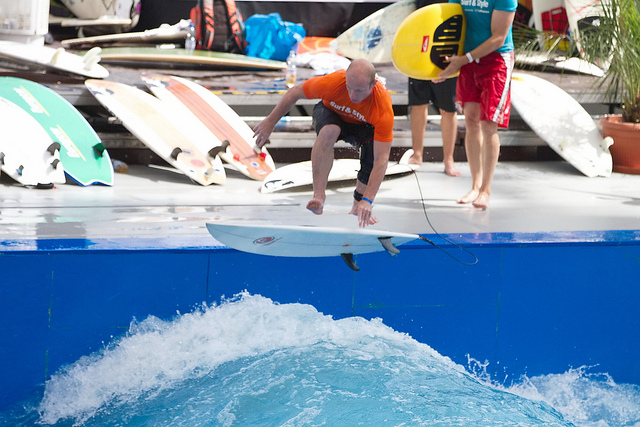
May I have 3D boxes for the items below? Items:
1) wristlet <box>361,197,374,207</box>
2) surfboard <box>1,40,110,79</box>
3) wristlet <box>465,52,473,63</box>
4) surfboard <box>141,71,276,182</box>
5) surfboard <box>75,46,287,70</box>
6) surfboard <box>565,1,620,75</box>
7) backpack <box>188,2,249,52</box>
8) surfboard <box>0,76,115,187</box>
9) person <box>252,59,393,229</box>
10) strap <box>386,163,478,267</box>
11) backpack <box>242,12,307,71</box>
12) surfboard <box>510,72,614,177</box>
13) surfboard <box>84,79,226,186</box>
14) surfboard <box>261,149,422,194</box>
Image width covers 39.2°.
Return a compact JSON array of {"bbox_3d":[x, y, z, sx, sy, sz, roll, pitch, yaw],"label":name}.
[{"bbox_3d":[0.331,-0.078,6.184,0.057,0.013,0.053,41,-4,-22],"label":"wristlet"},{"bbox_3d":[-2.299,-1.351,7.752,0.759,0.151,0.389,14,11,-21],"label":"surfboard"},{"bbox_3d":[1.110,-1.182,6.724,0.016,0.057,0.059,-20,29,-4],"label":"wristlet"},{"bbox_3d":[-0.947,-0.886,7.992,0.175,1.577,0.481,38,-22,2],"label":"surfboard"},{"bbox_3d":[-1.379,-1.465,8.416,1.196,0.076,0.275,4,26,-17],"label":"surfboard"},{"bbox_3d":[2.468,-1.789,8.227,0.297,0.146,1.299,-2,35,4],"label":"surfboard"},{"bbox_3d":[-1.028,-1.775,8.874,0.419,0.579,0.550,-1,-16,-13],"label":"backpack"},{"bbox_3d":[-2.273,-0.670,7.567,0.514,0.232,1.564,-11,56,-46],"label":"surfboard"},{"bbox_3d":[0.069,-0.509,6.377,0.896,1.182,0.635,1,12,10],"label":"person"},{"bbox_3d":[0.802,0.116,6.320,0.220,0.712,0.018,-36,-14,-12],"label":"strap"},{"bbox_3d":[-0.398,-1.727,8.924,0.520,0.592,0.225,1,52,31],"label":"backpack"},{"bbox_3d":[2.201,-0.798,8.307,0.365,0.233,1.024,-30,71,-26],"label":"surfboard"},{"bbox_3d":[-1.523,-0.720,7.739,0.578,0.309,1.784,-9,50,-48],"label":"surfboard"},{"bbox_3d":[0.167,-0.330,7.184,1.057,0.111,0.252,-10,43,-23],"label":"surfboard"}]
